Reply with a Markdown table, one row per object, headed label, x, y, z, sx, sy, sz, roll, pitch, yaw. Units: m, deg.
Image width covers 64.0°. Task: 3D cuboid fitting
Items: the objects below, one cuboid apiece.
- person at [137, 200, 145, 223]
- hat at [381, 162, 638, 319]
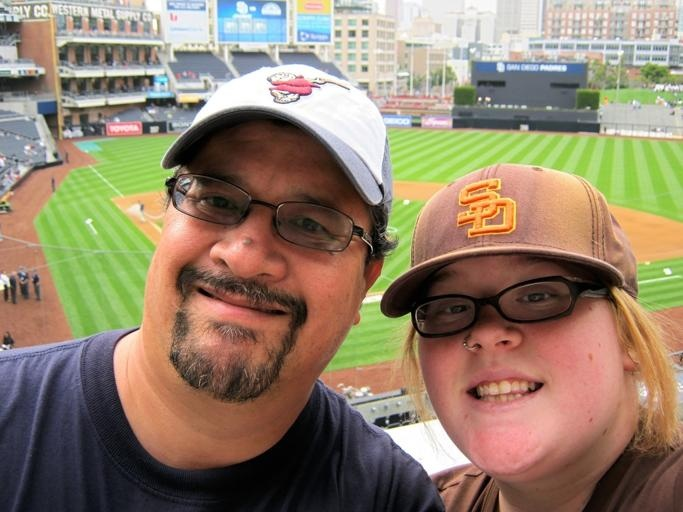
| label | x | y | z | sx | sy | sz | roll | pitch | yaw |
| --- | --- | --- | --- | --- | --- | --- | --- | --- | --- |
| person | -8.540 | -1.877 | 23.552 | 0.430 | 0.307 | 1.194 | -10 | 45 | -7 |
| hat | 0.659 | -0.057 | 2.105 | 0.622 | 0.384 | 0.806 | -12 | -20 | 39 |
